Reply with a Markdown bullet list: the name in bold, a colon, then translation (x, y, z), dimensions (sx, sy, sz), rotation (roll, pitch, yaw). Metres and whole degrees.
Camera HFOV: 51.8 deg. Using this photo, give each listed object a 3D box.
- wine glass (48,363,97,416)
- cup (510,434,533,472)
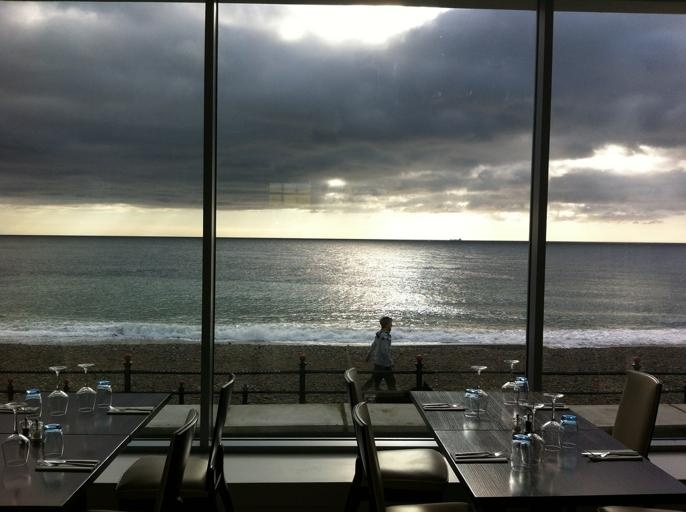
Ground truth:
- **wine glass**: translation (-1.804, 0.905, 4.755), dimensions (0.345, 0.282, 0.134), rotation (3, -4, -35)
- **cup**: translation (0.977, 1.067, 3.883), dimensions (0.116, 0.212, 0.203), rotation (1, 5, 14)
